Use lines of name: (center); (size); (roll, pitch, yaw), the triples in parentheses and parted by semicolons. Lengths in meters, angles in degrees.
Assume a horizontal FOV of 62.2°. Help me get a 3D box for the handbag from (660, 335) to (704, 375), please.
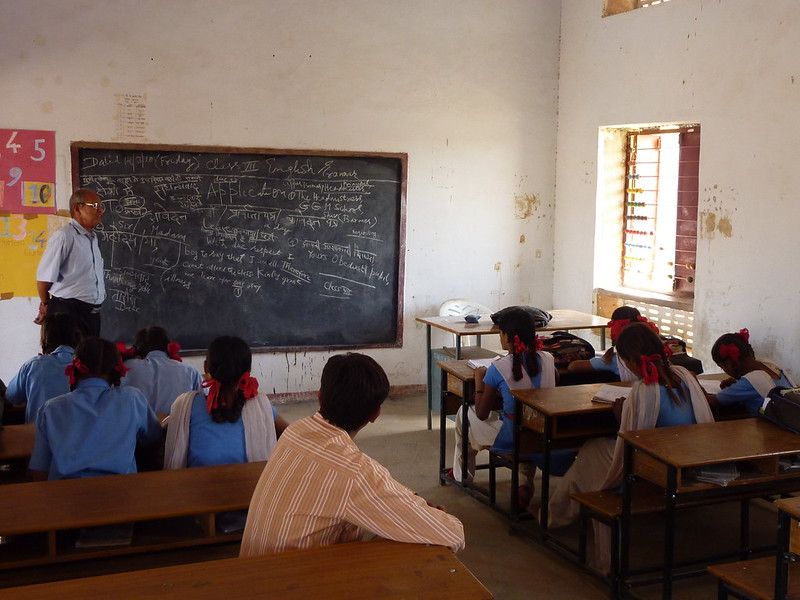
handbag: (1.799, 0.352, 4.217); (0.265, 0.065, 0.265); (-6, 19, -17)

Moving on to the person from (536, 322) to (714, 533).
person: (1.146, 0.691, 3.350); (0.776, 1.134, 0.432); (4, 4, 26)

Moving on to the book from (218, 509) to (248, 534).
book: (-0.693, 0.905, 2.710); (0.122, 0.033, 0.124); (-2, 7, -1)

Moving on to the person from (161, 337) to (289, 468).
person: (-0.884, 0.480, 3.226); (0.540, 0.903, 0.507); (4, 32, -10)

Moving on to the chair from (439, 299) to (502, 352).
chair: (0.645, 0.216, 5.941); (0.437, 0.468, 0.421); (-1, 1, -20)

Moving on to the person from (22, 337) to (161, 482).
person: (-1.375, 0.499, 2.940); (0.514, 0.827, 0.443); (3, 25, -13)

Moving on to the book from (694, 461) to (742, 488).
book: (1.464, 0.796, 3.062); (0.219, 0.073, 0.126); (0, 4, -30)

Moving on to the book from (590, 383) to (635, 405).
book: (1.125, 0.485, 3.500); (0.129, 0.033, 0.134); (5, 13, 29)

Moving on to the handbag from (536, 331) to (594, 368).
handbag: (1.109, 0.317, 4.421); (0.311, 0.126, 0.250); (1, 6, -17)
